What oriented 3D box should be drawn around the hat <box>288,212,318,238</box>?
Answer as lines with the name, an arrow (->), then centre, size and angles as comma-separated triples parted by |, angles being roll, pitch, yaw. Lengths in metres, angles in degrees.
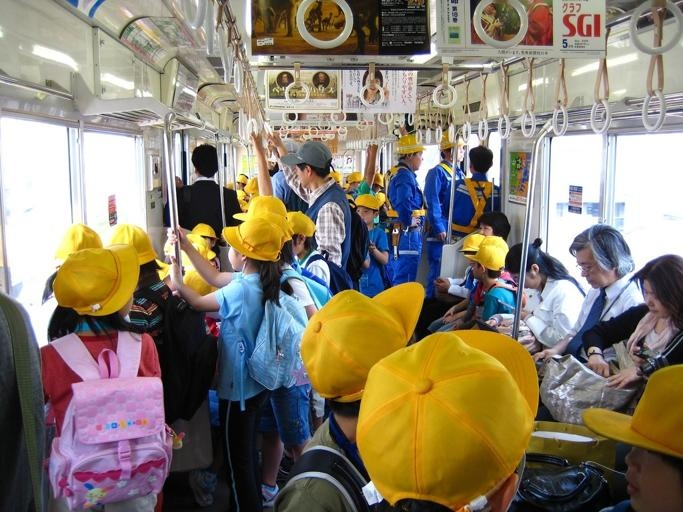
hat -> -0.268, -0.194, 3.344 | 0.193, 0.127, 0.121 | 6, -38, -42

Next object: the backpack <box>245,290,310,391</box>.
backpack -> -0.436, 0.465, 2.726 | 0.276, 0.227, 0.405 | -17, 31, 19

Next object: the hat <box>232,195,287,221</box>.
hat -> -0.505, -0.278, 3.079 | 0.261, 0.126, 0.189 | 7, 5, 3

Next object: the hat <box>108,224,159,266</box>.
hat -> -1.108, -0.074, 2.660 | 0.214, 0.185, 0.318 | -14, 27, -37

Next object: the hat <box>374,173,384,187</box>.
hat -> 0.660, -1.330, 8.570 | 0.156, 0.245, 0.127 | -4, -31, -8

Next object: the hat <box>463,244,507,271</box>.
hat -> 1.116, 0.021, 3.782 | 0.232, 0.144, 0.154 | 22, 35, 35

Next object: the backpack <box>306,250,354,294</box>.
backpack -> -0.075, 0.086, 3.505 | 0.311, 0.364, 0.232 | -12, 27, -12

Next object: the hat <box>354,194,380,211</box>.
hat -> 0.344, -0.616, 5.700 | 0.166, 0.132, 0.241 | 12, -6, 28

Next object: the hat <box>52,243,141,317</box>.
hat -> -1.041, 0.063, 2.105 | 0.376, 0.329, 0.138 | 14, -7, 29

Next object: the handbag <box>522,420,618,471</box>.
handbag -> 0.960, 0.790, 2.104 | 0.277, 0.109, 0.198 | 3, 3, 4

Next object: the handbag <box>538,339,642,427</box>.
handbag -> 1.302, 0.682, 2.741 | 0.490, 0.462, 0.242 | 6, 8, 17

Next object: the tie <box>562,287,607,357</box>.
tie -> 1.489, 0.414, 3.033 | 0.128, 0.396, 0.276 | 19, 7, -4

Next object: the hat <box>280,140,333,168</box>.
hat -> -0.256, -0.756, 3.674 | 0.295, 0.139, 0.205 | 1, 30, 3

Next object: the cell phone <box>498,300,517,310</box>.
cell phone -> 1.231, 0.373, 3.646 | 0.124, 0.076, 0.178 | 5, 6, 9

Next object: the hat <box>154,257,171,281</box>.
hat -> -1.087, 0.085, 3.026 | 0.078, 0.136, 0.060 | -9, 24, -35

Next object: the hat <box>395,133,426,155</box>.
hat -> 0.851, -1.412, 6.358 | 0.438, 0.266, 0.335 | -22, 27, -31
